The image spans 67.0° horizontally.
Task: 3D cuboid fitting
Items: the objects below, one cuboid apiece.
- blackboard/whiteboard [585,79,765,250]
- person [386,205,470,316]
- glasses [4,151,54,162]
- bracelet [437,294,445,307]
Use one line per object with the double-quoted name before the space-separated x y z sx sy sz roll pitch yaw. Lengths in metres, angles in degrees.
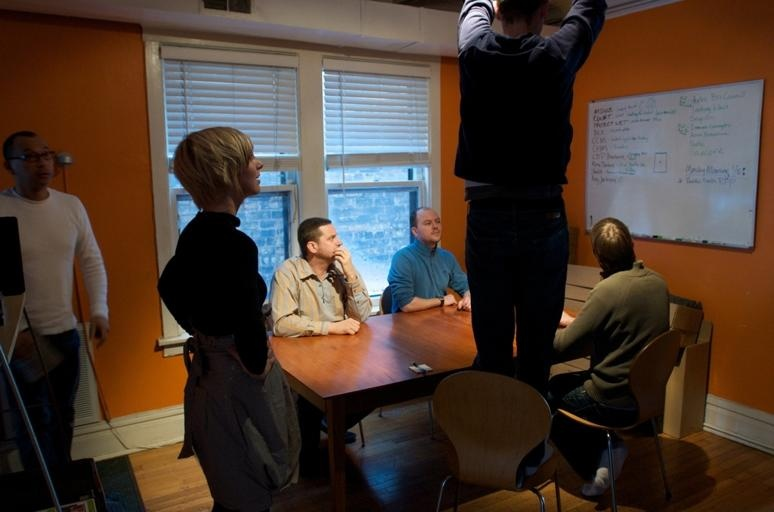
"blackboard/whiteboard" 2.229 -0.697 4.446 0.060 1.253 1.338 -2 5 -39
"person" 0.335 0.206 4.576 0.689 1.162 0.629 0 5 -13
"glasses" -2.037 -0.569 3.355 0.244 0.055 0.093 -10 11 -31
"bracelet" 0.406 0.349 4.402 0.042 0.067 0.067 0 2 -7
